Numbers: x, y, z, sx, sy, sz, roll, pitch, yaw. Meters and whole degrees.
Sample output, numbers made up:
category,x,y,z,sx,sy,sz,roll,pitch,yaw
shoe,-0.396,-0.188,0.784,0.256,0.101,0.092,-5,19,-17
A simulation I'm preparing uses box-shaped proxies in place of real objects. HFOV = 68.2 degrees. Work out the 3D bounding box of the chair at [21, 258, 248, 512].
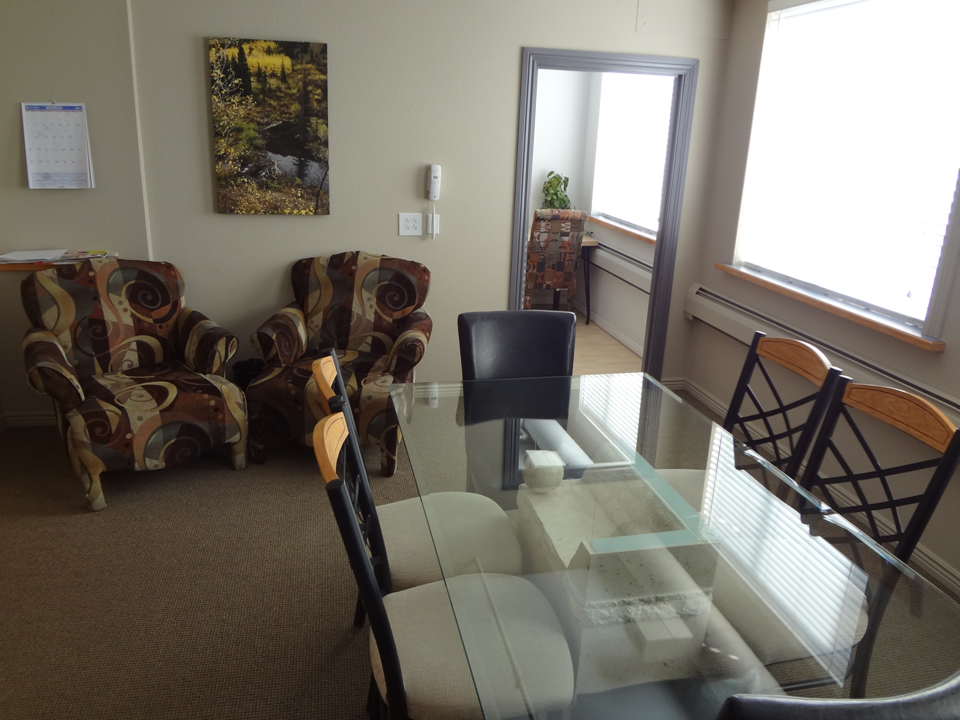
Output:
category,x,y,z,sx,sy,sz,roll,pitch,yaw
chair,-1.763,0.049,3.679,0.935,1.088,1.062,-6,19,-27

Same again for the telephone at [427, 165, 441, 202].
category,x,y,z,sx,sy,sz,roll,pitch,yaw
telephone,-0.268,-1.086,4.302,0.097,0.221,0.073,-3,18,-11

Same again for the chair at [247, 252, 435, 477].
category,x,y,z,sx,sy,sz,roll,pitch,yaw
chair,-0.770,-0.001,4.039,0.959,1.100,1.081,7,18,9

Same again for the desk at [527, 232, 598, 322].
category,x,y,z,sx,sy,sz,roll,pitch,yaw
desk,0.664,-0.867,6.537,0.619,0.955,0.628,-3,27,-5
